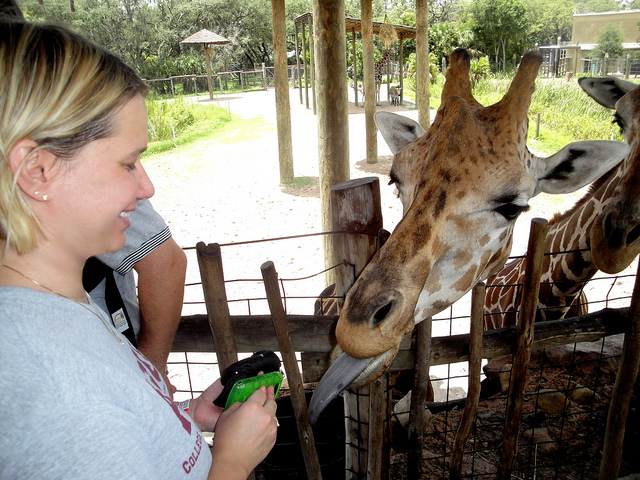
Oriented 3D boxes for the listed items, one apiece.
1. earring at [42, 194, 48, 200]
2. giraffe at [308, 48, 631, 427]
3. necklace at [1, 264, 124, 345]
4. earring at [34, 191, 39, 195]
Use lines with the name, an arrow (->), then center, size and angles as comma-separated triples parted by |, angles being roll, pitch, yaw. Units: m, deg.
earring -> -0.882, -0.140, 1.862 | 0.016, 0.017, 0.003 | -11, 18, -20
giraffe -> 0.724, 0.028, 3.335 | 1.421, 0.986, 2.165 | 30, 70, 23
necklace -> -0.852, 0.234, 1.961 | 0.329, 0.383, 0.147 | -16, 21, -33
earring -> -0.904, -0.153, 1.849 | 0.011, 0.013, 0.003 | 15, -6, -12
